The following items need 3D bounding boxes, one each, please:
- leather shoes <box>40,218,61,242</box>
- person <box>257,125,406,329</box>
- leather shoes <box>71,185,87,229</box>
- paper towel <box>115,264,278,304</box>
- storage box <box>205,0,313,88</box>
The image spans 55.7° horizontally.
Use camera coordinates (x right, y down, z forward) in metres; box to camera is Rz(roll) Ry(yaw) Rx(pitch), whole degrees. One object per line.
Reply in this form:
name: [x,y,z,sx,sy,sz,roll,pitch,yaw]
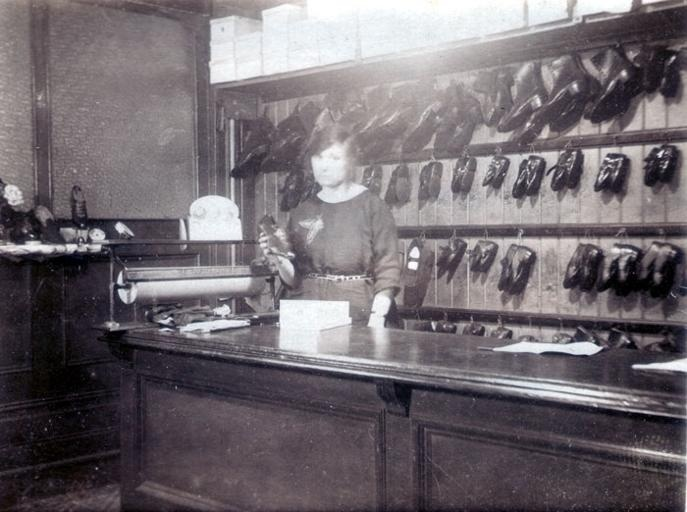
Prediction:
leather shoes: [-1.789,-0.160,4.075,0.107,0.153,0.187,0,4,2]
person: [-0.017,-0.190,3.799,0.730,1.140,0.204,1,4,22]
leather shoes: [-1.717,-0.319,4.253,0.106,0.285,0.148,-2,4,-23]
paper towel: [-0.750,0.095,3.484,0.905,0.225,0.271,-1,2,-38]
storage box: [-0.594,-1.296,4.309,0.533,0.572,0.344,-1,5,21]
